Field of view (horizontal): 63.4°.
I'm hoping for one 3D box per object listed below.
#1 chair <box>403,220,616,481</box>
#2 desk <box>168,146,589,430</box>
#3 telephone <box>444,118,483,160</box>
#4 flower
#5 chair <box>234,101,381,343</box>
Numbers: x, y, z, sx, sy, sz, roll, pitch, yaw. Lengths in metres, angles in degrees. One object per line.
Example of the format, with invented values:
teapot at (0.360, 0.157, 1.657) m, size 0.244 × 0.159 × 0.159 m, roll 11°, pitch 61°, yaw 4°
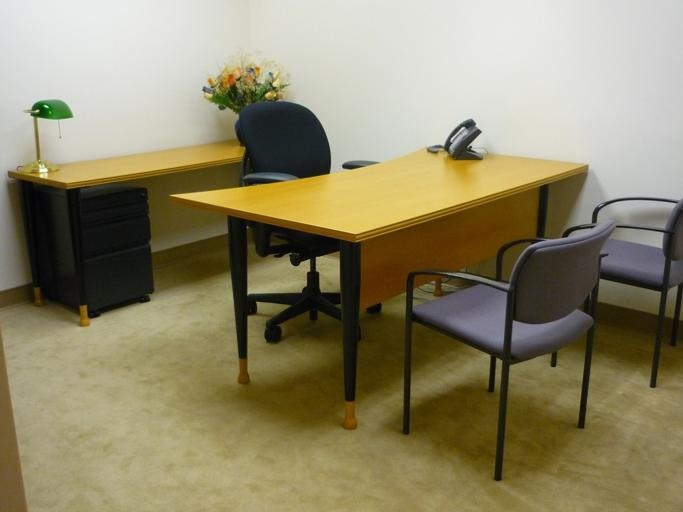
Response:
chair at (0.756, 0.347, 2.524) m, size 0.645 × 1.123 × 0.720 m, roll -15°, pitch 21°, yaw -35°
desk at (0.092, -0.193, 3.001) m, size 1.272 × 1.219 × 2.279 m, roll 19°, pitch 31°, yaw 37°
telephone at (0.811, -0.735, 3.636) m, size 0.270 × 0.096 × 0.286 m, roll -22°, pitch 62°, yaw -35°
flower at (-0.754, -1.294, 4.311) m, size 0.590 × 0.502 × 0.577 m, roll -16°, pitch 16°, yaw -41°
chair at (-0.202, -0.256, 3.372) m, size 0.818 × 1.408 × 0.735 m, roll -13°, pitch 14°, yaw -43°
